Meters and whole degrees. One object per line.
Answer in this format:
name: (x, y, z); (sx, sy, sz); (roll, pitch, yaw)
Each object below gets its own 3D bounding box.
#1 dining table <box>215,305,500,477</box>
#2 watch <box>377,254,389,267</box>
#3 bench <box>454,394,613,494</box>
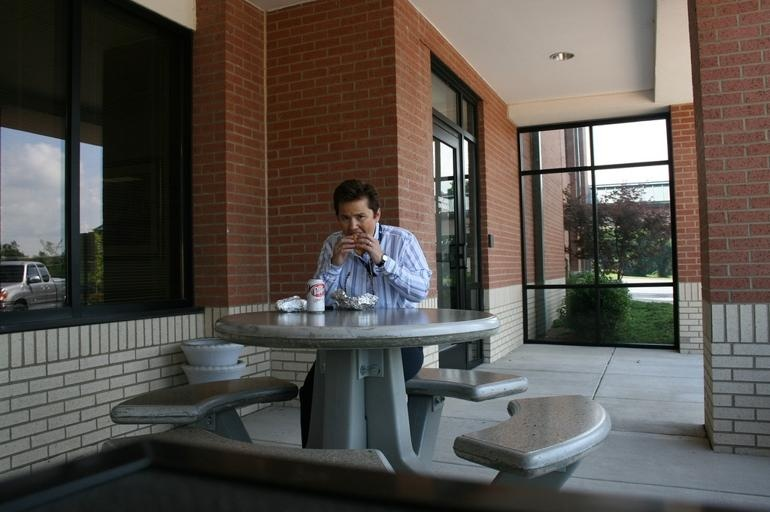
dining table: (-0.091, 0.582, 2.595); (1.032, 0.585, 1.027); (-2, -3, 23)
watch: (-0.004, 0.026, 3.090); (0.051, 0.069, 0.077); (34, 18, 11)
bench: (0.666, 0.815, 2.325); (0.448, 0.270, 0.727); (1, 2, 38)
